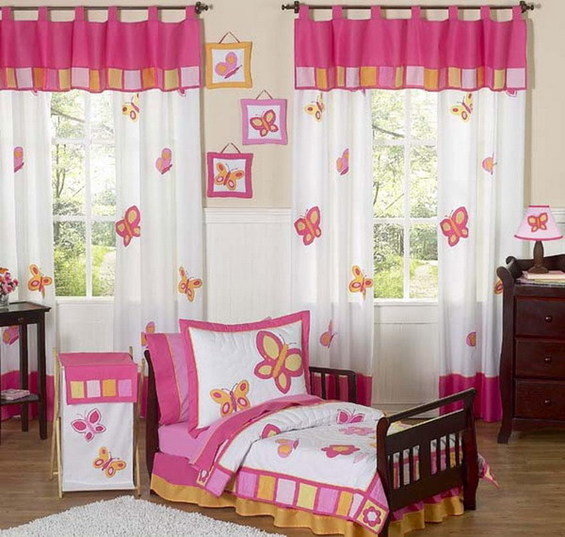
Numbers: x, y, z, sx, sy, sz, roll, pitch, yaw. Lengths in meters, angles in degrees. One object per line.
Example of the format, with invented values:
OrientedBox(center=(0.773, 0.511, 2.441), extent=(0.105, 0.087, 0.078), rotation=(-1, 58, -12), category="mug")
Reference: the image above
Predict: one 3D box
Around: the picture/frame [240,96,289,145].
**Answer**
OrientedBox(center=(-0.132, -0.995, 4.217), extent=(0.305, 0.339, 0.014), rotation=(0, 2, -3), category="picture/frame")

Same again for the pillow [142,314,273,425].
OrientedBox(center=(-0.492, 0.487, 3.033), extent=(0.473, 0.515, 0.149), rotation=(-6, -2, -30), category="pillow")

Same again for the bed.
OrientedBox(center=(0.154, 0.813, 2.829), extent=(1.047, 0.618, 0.766), rotation=(1, 5, 32), category="bed")

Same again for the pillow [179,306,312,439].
OrientedBox(center=(-0.165, 0.491, 3.136), extent=(0.684, 0.498, 0.142), rotation=(-5, 2, -24), category="pillow")

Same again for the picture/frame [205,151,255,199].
OrientedBox(center=(-0.366, -0.638, 4.233), extent=(0.296, 0.313, 0.028), rotation=(0, 2, -1), category="picture/frame")

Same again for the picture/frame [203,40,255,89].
OrientedBox(center=(-0.371, -1.354, 4.190), extent=(0.298, 0.331, 0.025), rotation=(0, 3, -4), category="picture/frame")
